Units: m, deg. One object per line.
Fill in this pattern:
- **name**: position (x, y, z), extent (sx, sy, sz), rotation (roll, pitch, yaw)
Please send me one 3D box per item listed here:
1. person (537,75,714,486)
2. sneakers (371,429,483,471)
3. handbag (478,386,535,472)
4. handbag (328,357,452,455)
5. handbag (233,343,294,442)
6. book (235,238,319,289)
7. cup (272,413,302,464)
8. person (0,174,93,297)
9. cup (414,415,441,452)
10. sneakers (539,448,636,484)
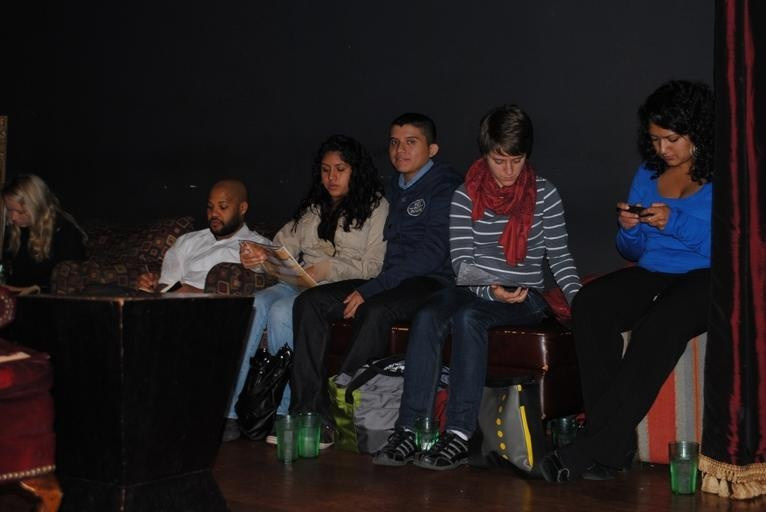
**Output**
- **person**: position (1.078, 0.075, 2.644), extent (0.509, 1.622, 0.767), rotation (3, 7, 33)
- **sneakers**: position (0.179, 0.837, 2.735), extent (0.220, 0.091, 0.282), rotation (-2, -9, 33)
- **handbag**: position (0.524, 0.729, 2.658), extent (0.130, 0.309, 0.333), rotation (6, -11, -27)
- **handbag**: position (-0.055, 0.678, 2.937), extent (0.385, 0.179, 0.508), rotation (5, 47, 13)
- **handbag**: position (-0.609, 0.675, 3.203), extent (0.263, 0.426, 0.169), rotation (15, -5, -28)
- **book**: position (-0.561, 0.046, 3.350), extent (0.397, 0.053, 0.368), rotation (8, -26, 41)
- **cup**: position (-0.419, 0.802, 2.818), extent (0.106, 0.192, 0.085), rotation (-3, 6, -20)
- **person**: position (-2.254, -0.162, 4.076), extent (0.657, 0.710, 0.319), rotation (1, 6, 14)
- **cup**: position (0.203, 0.768, 2.828), extent (0.132, 0.189, 0.136), rotation (-1, -2, 0)
- **sneakers**: position (0.844, 0.853, 2.620), extent (0.412, 0.157, 0.147), rotation (3, 6, -5)
